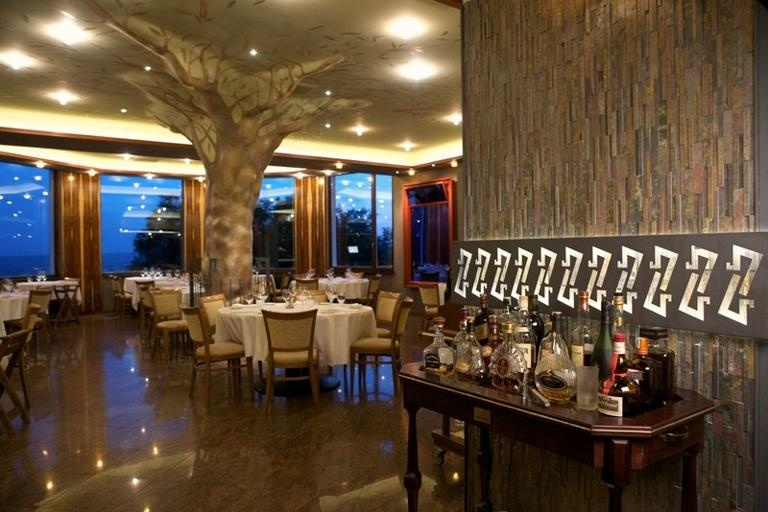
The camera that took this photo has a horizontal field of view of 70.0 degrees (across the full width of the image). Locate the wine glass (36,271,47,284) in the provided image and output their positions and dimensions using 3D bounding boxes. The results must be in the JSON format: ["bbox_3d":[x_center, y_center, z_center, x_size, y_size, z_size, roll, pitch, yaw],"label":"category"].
[{"bbox_3d":[-7.200,0.444,11.574,0.231,0.391,0.222,3,-3,-41],"label":"wine glass"}]
